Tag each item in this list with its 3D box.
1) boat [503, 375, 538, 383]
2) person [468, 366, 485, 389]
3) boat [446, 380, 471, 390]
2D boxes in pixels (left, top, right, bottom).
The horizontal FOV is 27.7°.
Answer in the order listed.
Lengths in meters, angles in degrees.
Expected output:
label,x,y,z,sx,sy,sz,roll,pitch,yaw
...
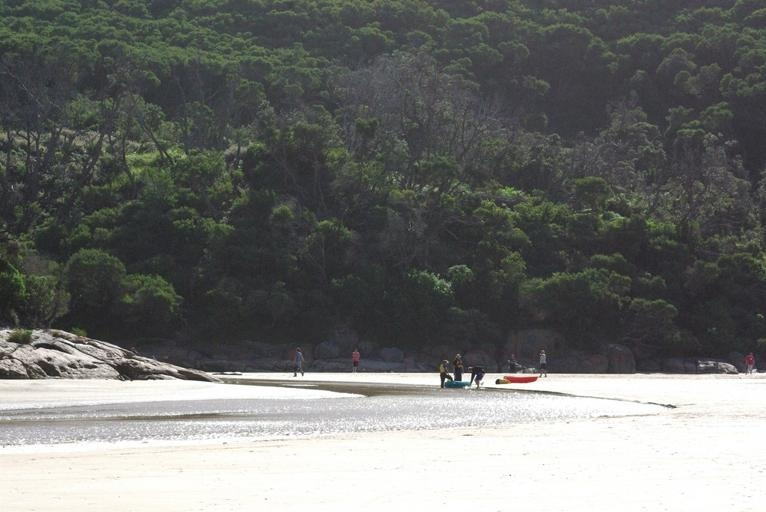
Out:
label,x,y,z,sx,sy,sz,roll,pitch,yaw
boat,13.616,12.296,156.014,3.293,1.008,5.038,5,-3,4
person,9.126,12.028,153.293,1.428,2.468,0.843,10,10,21
boat,7.111,12.516,151.465,2.512,0.771,0.759,5,-3,-5
